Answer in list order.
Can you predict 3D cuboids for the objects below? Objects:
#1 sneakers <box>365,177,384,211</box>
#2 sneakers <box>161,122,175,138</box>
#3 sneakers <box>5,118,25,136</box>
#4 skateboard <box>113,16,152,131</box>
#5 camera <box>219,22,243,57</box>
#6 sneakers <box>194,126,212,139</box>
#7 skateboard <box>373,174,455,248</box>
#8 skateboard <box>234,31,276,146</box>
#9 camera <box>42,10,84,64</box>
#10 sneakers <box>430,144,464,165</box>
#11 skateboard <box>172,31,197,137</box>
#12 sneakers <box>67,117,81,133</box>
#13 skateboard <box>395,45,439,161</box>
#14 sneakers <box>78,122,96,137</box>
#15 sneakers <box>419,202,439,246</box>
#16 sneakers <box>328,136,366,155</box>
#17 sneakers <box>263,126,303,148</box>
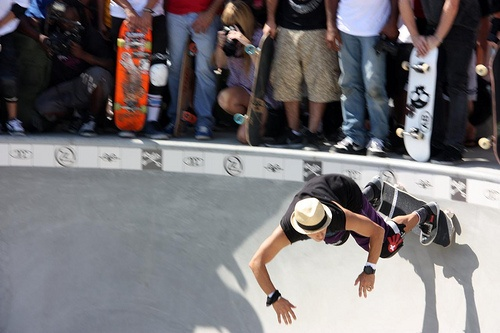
[{"bbox_3d":[1.493,0.293,5.904,0.180,0.468,0.146,-39,38,-23],"label":"sneakers"},{"bbox_3d":[-1.112,-0.508,6.826,0.115,0.233,0.200,3,3,7],"label":"sneakers"},{"bbox_3d":[-3.133,-0.535,6.686,0.248,0.185,0.158,8,40,18],"label":"sneakers"},{"bbox_3d":[-1.566,-1.211,6.585,0.401,1.524,0.215,1,12,-10],"label":"skateboard"},{"bbox_3d":[-0.270,-1.651,6.485,0.113,0.377,0.244,-5,15,-28],"label":"camera"},{"bbox_3d":[-0.639,-0.453,6.773,0.206,0.204,0.137,7,-6,-18],"label":"sneakers"},{"bbox_3d":[1.895,0.513,5.794,0.191,0.439,1.306,7,14,-31],"label":"skateboard"},{"bbox_3d":[0.068,-0.968,6.607,0.247,1.766,0.377,6,2,37],"label":"skateboard"},{"bbox_3d":[-2.505,-1.752,6.644,0.376,0.599,0.222,12,12,2],"label":"camera"},{"bbox_3d":[2.325,-0.118,6.010,0.468,0.232,0.171,1,3,2],"label":"sneakers"},{"bbox_3d":[-0.890,-1.123,6.856,0.267,1.440,0.198,4,7,-26],"label":"skateboard"},{"bbox_3d":[-2.437,-0.567,6.905,0.136,0.228,0.053,29,-15,1],"label":"sneakers"},{"bbox_3d":[2.056,-0.735,5.996,0.326,1.408,0.182,11,10,39],"label":"skateboard"},{"bbox_3d":[-2.212,-0.510,6.759,0.221,0.196,0.143,-2,16,-22],"label":"sneakers"},{"bbox_3d":[2.133,0.586,5.853,0.192,0.243,0.629,-1,40,29],"label":"sneakers"},{"bbox_3d":[1.258,-0.279,6.383,0.493,0.239,0.192,5,6,1],"label":"sneakers"},{"bbox_3d":[0.394,-0.383,6.528,0.582,0.266,0.212,2,-5,8],"label":"sneakers"}]
